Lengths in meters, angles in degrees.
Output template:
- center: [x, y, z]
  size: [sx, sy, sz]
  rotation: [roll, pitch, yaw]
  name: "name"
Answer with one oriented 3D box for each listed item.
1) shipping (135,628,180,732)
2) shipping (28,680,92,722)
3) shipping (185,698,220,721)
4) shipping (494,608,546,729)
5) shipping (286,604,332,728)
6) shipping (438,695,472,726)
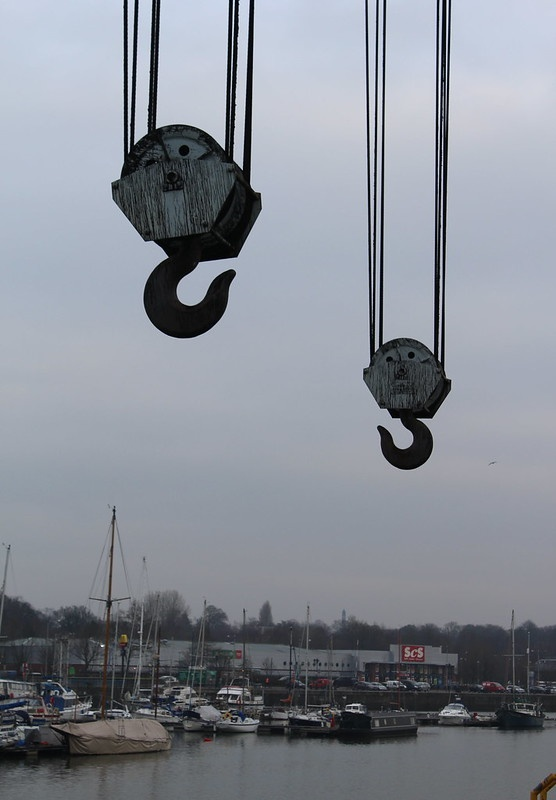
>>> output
- center: [-4.332, 10.329, 55.991]
  size: [0.910, 4.232, 2.754]
  rotation: [-9, -17, 36]
  name: "shipping"
- center: [-7.082, 9.889, 50.579]
  size: [1.681, 1.407, 6.500]
  rotation: [4, -13, -5]
  name: "shipping"
- center: [-2.768, 11.126, 55.529]
  size: [0.688, 0.499, 1.070]
  rotation: [5, -12, 11]
  name: "shipping"
- center: [10.336, 11.809, 65.624]
  size: [0.959, 3.728, 2.716]
  rotation: [-9, 0, -27]
  name: "shipping"
- center: [1.017, 10.542, 56.665]
  size: [1.177, 5.565, 3.564]
  rotation: [2, -35, -2]
  name: "shipping"
- center: [7.420, 13.342, 65.474]
  size: [1.351, 1.007, 3.730]
  rotation: [2, -13, 7]
  name: "shipping"
